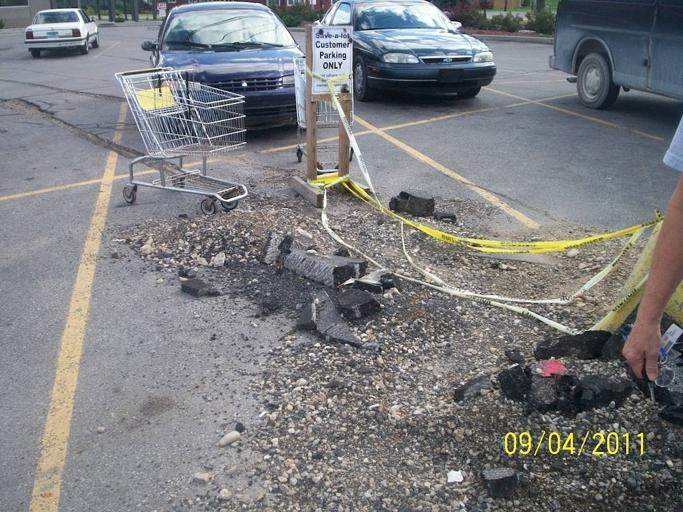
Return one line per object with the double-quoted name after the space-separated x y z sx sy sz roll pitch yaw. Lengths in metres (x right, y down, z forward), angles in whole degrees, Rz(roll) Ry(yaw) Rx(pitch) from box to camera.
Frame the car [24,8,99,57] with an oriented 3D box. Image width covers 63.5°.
-11.085 -8.849 21.784 2.153 1.737 3.335 -9 24 -14 "car"
